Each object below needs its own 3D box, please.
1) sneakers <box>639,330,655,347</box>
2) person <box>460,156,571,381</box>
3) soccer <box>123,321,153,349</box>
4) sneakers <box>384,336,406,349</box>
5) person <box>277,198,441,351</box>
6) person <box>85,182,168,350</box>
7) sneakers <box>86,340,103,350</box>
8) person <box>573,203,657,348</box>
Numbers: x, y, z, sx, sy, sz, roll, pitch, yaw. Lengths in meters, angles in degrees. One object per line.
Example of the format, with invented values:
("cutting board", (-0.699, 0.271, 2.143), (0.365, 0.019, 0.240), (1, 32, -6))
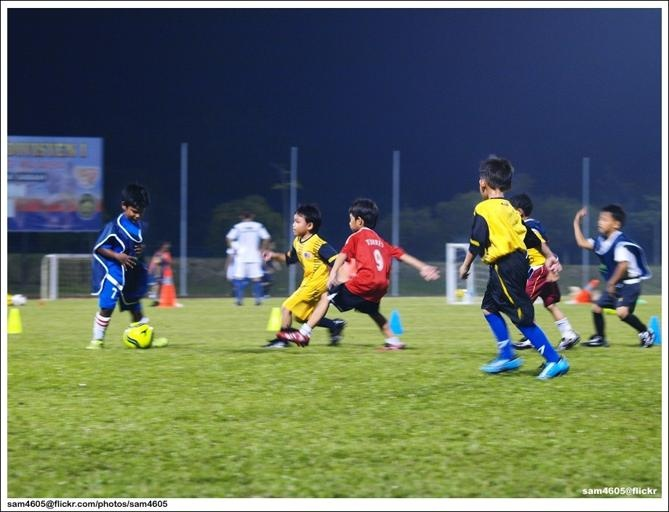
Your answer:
("sneakers", (3.545, 0.919, 9.661), (0.133, 0.288, 0.102), (26, -24, -15))
("person", (1.696, 0.107, 7.999), (1.071, 2.039, 0.840), (-3, 11, -19))
("soccer", (-2.139, 0.863, 9.266), (0.317, 0.260, 0.248), (-7, -5, -14))
("sneakers", (0.640, 0.943, 9.418), (0.104, 0.125, 0.290), (-1, 2, -16))
("person", (0.211, 0.382, 8.980), (1.297, 1.344, 0.469), (0, 10, -5))
("person", (-2.290, 0.130, 9.128), (0.664, 1.781, 0.564), (-7, 12, -35))
("sneakers", (-2.644, 0.974, 9.314), (0.083, 0.089, 0.218), (9, -10, -41))
("person", (3.180, 0.254, 9.574), (0.954, 1.651, 0.844), (3, 10, 15))
